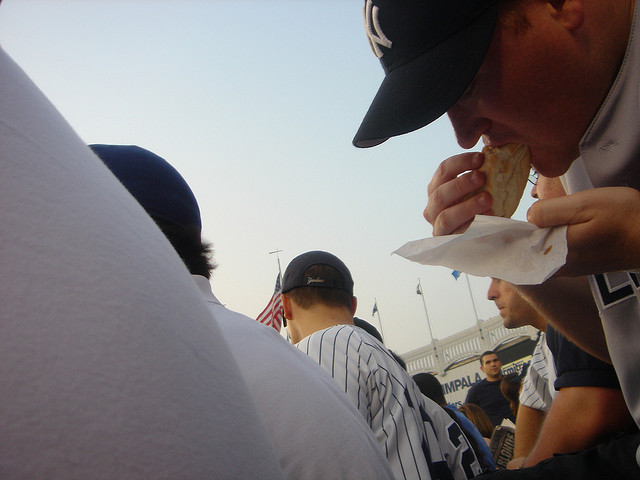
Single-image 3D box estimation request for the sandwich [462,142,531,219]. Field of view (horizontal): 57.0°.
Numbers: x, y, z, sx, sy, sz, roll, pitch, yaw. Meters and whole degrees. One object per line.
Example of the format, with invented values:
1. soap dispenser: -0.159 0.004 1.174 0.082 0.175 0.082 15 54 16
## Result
1. sandwich: 0.765 -0.277 2.553 0.107 0.372 0.236 17 11 39
